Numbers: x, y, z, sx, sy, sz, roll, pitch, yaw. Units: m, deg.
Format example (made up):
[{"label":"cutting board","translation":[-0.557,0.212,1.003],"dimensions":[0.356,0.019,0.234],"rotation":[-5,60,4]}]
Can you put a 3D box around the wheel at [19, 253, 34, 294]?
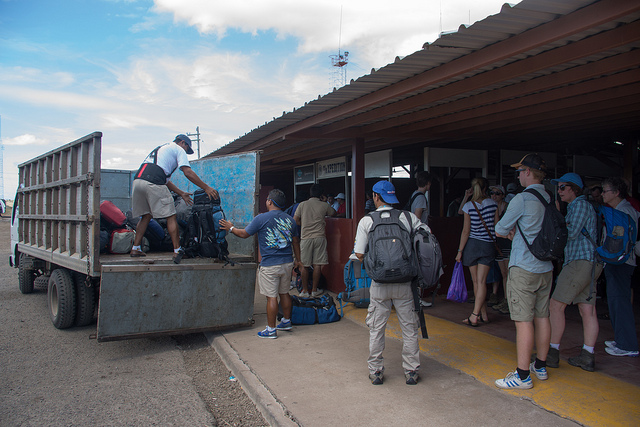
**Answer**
[{"label":"wheel","translation":[-6.769,1.391,9.998],"dimensions":[0.279,0.874,0.836],"rotation":[-1,4,-28]}]

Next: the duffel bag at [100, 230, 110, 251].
[{"label":"duffel bag","translation":[-3.654,0.440,7.310],"dimensions":[0.163,0.281,0.167],"rotation":[-10,15,-33]}]

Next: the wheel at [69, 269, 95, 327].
[{"label":"wheel","translation":[-3.956,1.348,7.164],"dimensions":[0.248,0.847,0.726],"rotation":[-7,29,-39]}]

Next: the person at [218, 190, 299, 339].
[{"label":"person","translation":[-0.812,0.811,7.061],"dimensions":[0.701,2.306,0.865],"rotation":[8,16,36]}]

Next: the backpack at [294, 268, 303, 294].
[{"label":"backpack","translation":[-0.462,1.452,9.713],"dimensions":[0.207,0.599,0.412],"rotation":[4,8,6]}]

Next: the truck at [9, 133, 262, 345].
[{"label":"truck","translation":[-3.747,0.513,8.778],"dimensions":[3.304,3.215,6.008],"rotation":[0,4,-43]}]

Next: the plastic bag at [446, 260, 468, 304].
[{"label":"plastic bag","translation":[2.357,1.177,7.386],"dimensions":[0.273,0.787,0.331],"rotation":[3,13,19]}]

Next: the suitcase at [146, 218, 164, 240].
[{"label":"suitcase","translation":[-2.990,0.285,7.796],"dimensions":[0.214,0.407,0.238],"rotation":[-26,16,-6]}]

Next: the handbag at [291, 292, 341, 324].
[{"label":"handbag","translation":[-0.111,1.664,7.655],"dimensions":[0.663,0.282,0.497],"rotation":[1,-4,-11]}]

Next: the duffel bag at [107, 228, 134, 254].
[{"label":"duffel bag","translation":[-3.408,0.475,7.381],"dimensions":[0.434,0.388,0.245],"rotation":[-9,15,-31]}]

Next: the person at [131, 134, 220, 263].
[{"label":"person","translation":[-2.533,-0.231,7.009],"dimensions":[1.172,1.736,0.859],"rotation":[-11,15,-35]}]

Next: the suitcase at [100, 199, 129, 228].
[{"label":"suitcase","translation":[-3.700,0.062,7.623],"dimensions":[0.146,0.500,0.362],"rotation":[-32,19,46]}]

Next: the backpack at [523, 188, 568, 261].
[{"label":"backpack","translation":[2.787,0.121,5.342],"dimensions":[0.476,0.836,0.552],"rotation":[4,14,26]}]

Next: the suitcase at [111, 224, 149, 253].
[{"label":"suitcase","translation":[-3.320,0.457,7.464],"dimensions":[0.491,0.482,0.345],"rotation":[7,-8,-43]}]
